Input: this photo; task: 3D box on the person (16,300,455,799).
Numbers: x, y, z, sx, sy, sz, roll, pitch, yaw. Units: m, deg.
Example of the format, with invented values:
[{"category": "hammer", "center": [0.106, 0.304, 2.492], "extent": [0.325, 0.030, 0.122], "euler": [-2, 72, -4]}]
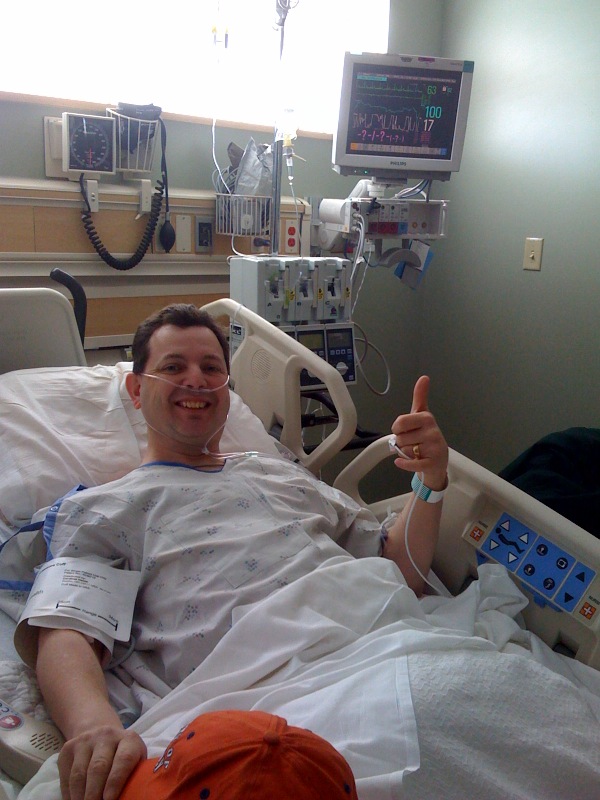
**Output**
[{"category": "person", "center": [-0.197, 0.165, 1.073], "extent": [0.593, 0.481, 0.753], "euler": [-2, 0, -26]}]

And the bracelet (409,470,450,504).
[{"category": "bracelet", "center": [0.267, 0.181, 1.199], "extent": [0.062, 0.039, 0.061], "euler": [-3, 42, -16]}]

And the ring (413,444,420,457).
[{"category": "ring", "center": [0.218, 0.093, 1.083], "extent": [0.013, 0.020, 0.019], "euler": [1, 4, 7]}]
